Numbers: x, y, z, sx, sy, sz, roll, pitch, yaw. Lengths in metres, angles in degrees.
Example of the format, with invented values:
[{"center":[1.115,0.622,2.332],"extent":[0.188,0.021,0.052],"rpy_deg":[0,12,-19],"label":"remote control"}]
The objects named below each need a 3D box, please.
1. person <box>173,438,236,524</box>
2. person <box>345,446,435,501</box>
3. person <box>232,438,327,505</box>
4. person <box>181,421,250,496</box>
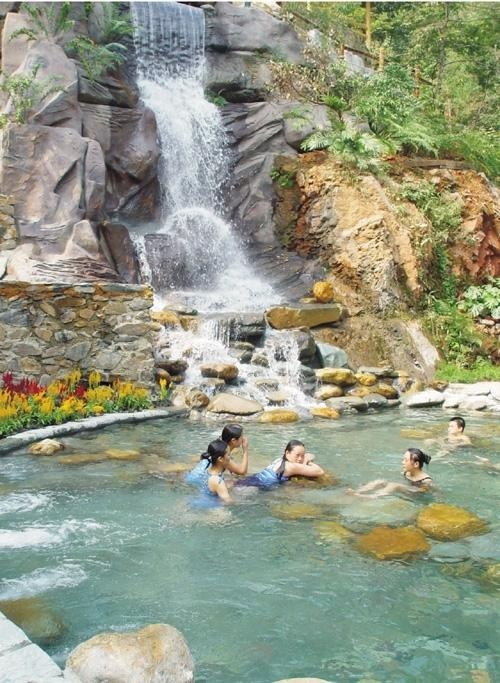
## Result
[{"center":[-0.345,1.061,4.934],"extent":[0.415,0.485,0.941],"rpy_deg":[2,5,-2],"label":"person"},{"center":[1.286,1.205,5.475],"extent":[0.786,0.405,0.346],"rpy_deg":[2,-11,-15],"label":"person"},{"center":[0.223,1.148,5.382],"extent":[0.819,0.325,0.340],"rpy_deg":[-16,23,-12],"label":"person"},{"center":[-0.206,1.167,5.290],"extent":[0.506,0.817,0.307],"rpy_deg":[-7,8,-8],"label":"person"}]
